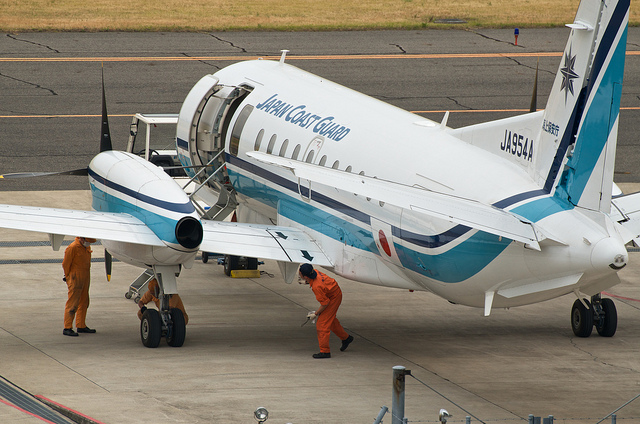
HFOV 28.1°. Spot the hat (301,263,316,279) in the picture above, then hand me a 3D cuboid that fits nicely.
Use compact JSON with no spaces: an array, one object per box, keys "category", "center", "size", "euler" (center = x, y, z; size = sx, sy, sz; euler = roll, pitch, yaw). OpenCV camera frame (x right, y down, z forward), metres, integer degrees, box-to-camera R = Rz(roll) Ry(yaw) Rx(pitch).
[{"category":"hat","center":[-0.275,1.434,31.991],"size":[0.433,0.285,0.305],"euler":[37,-2,-5]}]

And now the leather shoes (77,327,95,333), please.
[{"category":"leather shoes","center":[-5.970,3.014,33.095],"size":[0.517,0.144,0.147],"euler":[1,5,-7]}]

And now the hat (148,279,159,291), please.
[{"category":"hat","center":[-4.224,1.859,32.902],"size":[0.277,0.336,0.160],"euler":[-21,-19,29]}]

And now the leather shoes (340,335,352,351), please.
[{"category":"leather shoes","center":[0.703,3.305,32.500],"size":[0.280,0.519,0.166],"euler":[6,52,-28]}]

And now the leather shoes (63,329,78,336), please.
[{"category":"leather shoes","center":[-6.322,3.054,32.852],"size":[0.352,0.102,0.169],"euler":[1,4,26]}]
